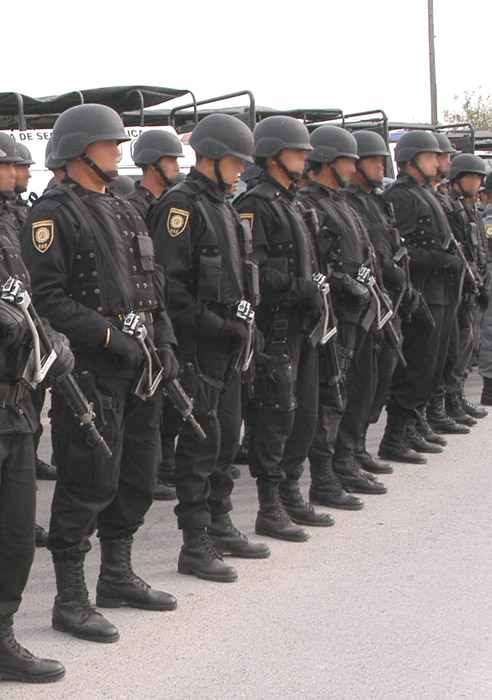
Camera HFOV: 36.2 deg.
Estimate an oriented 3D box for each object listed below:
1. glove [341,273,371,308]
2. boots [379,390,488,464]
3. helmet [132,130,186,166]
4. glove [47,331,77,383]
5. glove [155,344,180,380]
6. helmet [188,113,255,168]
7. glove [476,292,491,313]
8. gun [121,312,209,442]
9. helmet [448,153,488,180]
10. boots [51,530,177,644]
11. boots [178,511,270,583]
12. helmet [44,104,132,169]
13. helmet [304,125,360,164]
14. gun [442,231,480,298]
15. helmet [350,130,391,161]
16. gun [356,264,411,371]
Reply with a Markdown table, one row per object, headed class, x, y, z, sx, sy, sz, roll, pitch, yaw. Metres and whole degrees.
| class | x | y | z | sx | sy | sz | roll | pitch | yaw |
| --- | --- | --- | --- | --- | --- | --- | --- | --- | --- |
| glove | 0.689 | -0.367 | 4.694 | 0.180 | 0.206 | 0.092 | -12 | -11 | -43 |
| boots | 1.469 | 0.667 | 6.142 | 0.838 | 0.634 | 0.319 | 2 | 6 | -12 |
| helmet | -0.594 | -1.336 | 4.992 | 0.347 | 0.213 | 0.233 | 17 | 13 | 13 |
| glove | -0.592 | 0.025 | 2.457 | 0.122 | 0.140 | 0.064 | 17 | 19 | 41 |
| glove | -0.297 | 0.050 | 3.003 | 0.052 | 0.125 | 0.102 | -12 | 25 | 2 |
| helmet | -0.113 | -1.024 | 3.625 | 0.333 | 0.171 | 0.232 | 7 | 13 | 18 |
| glove | 2.431 | -0.493 | 7.708 | 0.094 | 0.221 | 0.179 | 19 | 10 | 26 |
| gun | -0.332 | 0.100 | 3.127 | 0.101 | 0.657 | 0.264 | -20 | 26 | 28 |
| helmet | 2.139 | -1.765 | 7.227 | 0.329 | 0.207 | 0.230 | 0 | 11 | 19 |
| boots | -0.527 | 0.945 | 2.915 | 0.353 | 0.286 | 0.501 | 2 | 5 | 31 |
| boots | -0.121 | 0.900 | 3.592 | 0.297 | 0.145 | 0.396 | 2 | 3 | 21 |
| helmet | -0.610 | -0.837 | 2.949 | 0.327 | 0.167 | 0.222 | -2 | 5 | -2 |
| helmet | 0.555 | -1.305 | 4.816 | 0.365 | 0.185 | 0.244 | -1 | 12 | 17 |
| gun | 1.832 | -0.739 | 6.438 | 0.093 | 1.023 | 0.469 | -2 | 51 | 25 |
| helmet | 0.844 | -1.473 | 5.461 | 0.329 | 0.223 | 0.221 | 0 | 21 | 24 |
| gun | 0.954 | -0.247 | 5.267 | 0.164 | 1.061 | 0.420 | -12 | 41 | 22 |
